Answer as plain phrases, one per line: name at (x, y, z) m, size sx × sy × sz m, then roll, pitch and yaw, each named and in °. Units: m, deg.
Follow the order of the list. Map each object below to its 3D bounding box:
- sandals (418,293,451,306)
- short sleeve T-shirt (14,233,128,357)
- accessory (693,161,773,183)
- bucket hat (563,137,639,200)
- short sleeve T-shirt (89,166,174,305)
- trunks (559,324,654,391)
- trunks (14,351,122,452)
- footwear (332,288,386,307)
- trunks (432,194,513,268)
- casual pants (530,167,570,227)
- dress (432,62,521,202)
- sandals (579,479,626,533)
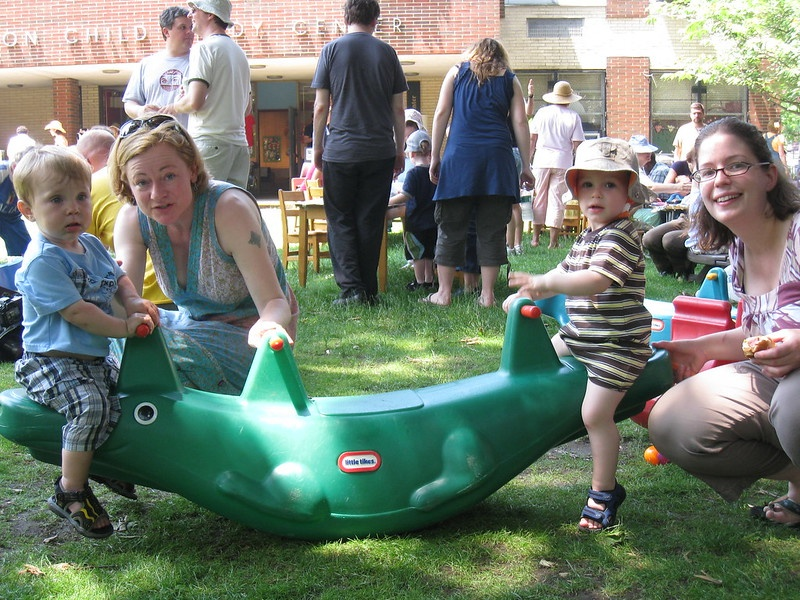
sandals at (0.266, 0.001, 6.261) m, size 0.098 × 0.082 × 0.240 m, roll -1°, pitch 9°, yaw -38°
short sleeve T-shirt at (-1.222, -0.042, 2.907) m, size 0.254 × 0.421 × 0.448 m, roll -1°, pitch 13°, yaw -1°
accessory at (1.148, -0.444, 2.829) m, size 0.253 × 0.076 × 0.111 m, roll 4°, pitch 14°, yaw 21°
bucket hat at (0.771, -0.507, 3.092) m, size 0.218 × 0.162 × 0.284 m, roll 4°, pitch 12°, yaw 21°
short sleeve T-shirt at (-1.041, -0.247, 3.197) m, size 0.204 × 0.711 × 0.270 m, roll -4°, pitch 5°, yaw 13°
trunks at (0.757, 0.210, 3.019) m, size 0.248 × 0.101 × 0.189 m, roll 10°, pitch -10°, yaw 17°
trunks at (-1.139, 0.345, 2.818) m, size 0.313 × 0.317 × 0.234 m, roll -7°, pitch 15°, yaw -24°
footwear at (-0.323, -0.014, 6.249) m, size 0.387 × 0.176 × 0.143 m, roll 2°, pitch -4°, yaw -4°
trunks at (0.461, -0.541, 6.239) m, size 0.719 × 0.761 × 0.465 m, roll 3°, pitch 8°, yaw 20°
casual pants at (1.731, -1.300, 9.396) m, size 0.325 × 0.243 × 0.721 m, roll -9°, pitch 31°, yaw 24°
dress at (0.562, -1.305, 6.000) m, size 0.566 × 1.546 × 0.466 m, roll -2°, pitch 47°, yaw 4°
sandals at (0.727, 0.729, 2.927) m, size 0.086 × 0.088 × 0.224 m, roll -4°, pitch 18°, yaw 36°
